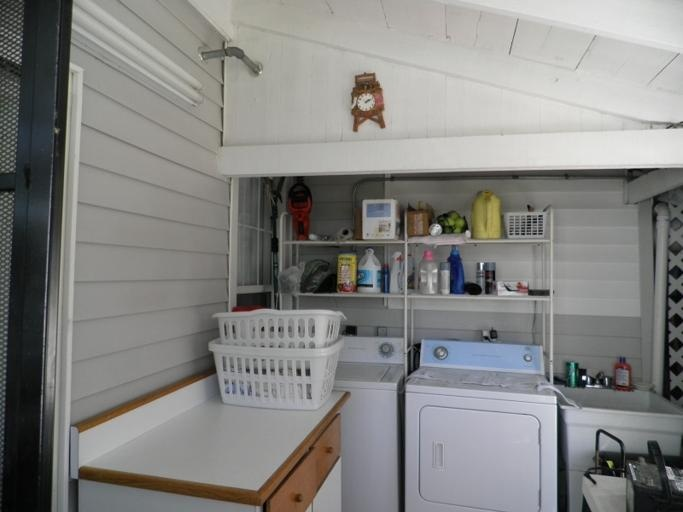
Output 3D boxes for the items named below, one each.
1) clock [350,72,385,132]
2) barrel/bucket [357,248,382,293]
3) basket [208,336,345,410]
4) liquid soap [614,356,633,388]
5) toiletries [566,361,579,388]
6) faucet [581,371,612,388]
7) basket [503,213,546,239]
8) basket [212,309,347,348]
[{"bbox_3d":[0.145,-0.848,2.832,0.179,0.327,0.043,-5,-9,8],"label":"clock"},{"bbox_3d":[0.203,0.116,3.606,0.217,0.316,0.229,3,-6,0],"label":"barrel/bucket"},{"bbox_3d":[-0.343,0.597,2.556,0.446,0.232,0.372,-1,-13,2],"label":"basket"},{"bbox_3d":[1.901,0.809,3.439,0.105,0.254,0.058,1,-36,27],"label":"liquid soap"},{"bbox_3d":[1.588,0.810,3.480,0.087,0.160,0.091,4,6,6],"label":"toiletries"},{"bbox_3d":[1.723,0.845,3.434,0.107,0.085,0.144,-3,-9,35],"label":"faucet"},{"bbox_3d":[1.195,-0.195,3.285,0.218,0.154,0.157,1,-4,12],"label":"basket"},{"bbox_3d":[-0.445,0.392,2.709,0.334,0.165,0.502,3,-3,12],"label":"basket"}]
